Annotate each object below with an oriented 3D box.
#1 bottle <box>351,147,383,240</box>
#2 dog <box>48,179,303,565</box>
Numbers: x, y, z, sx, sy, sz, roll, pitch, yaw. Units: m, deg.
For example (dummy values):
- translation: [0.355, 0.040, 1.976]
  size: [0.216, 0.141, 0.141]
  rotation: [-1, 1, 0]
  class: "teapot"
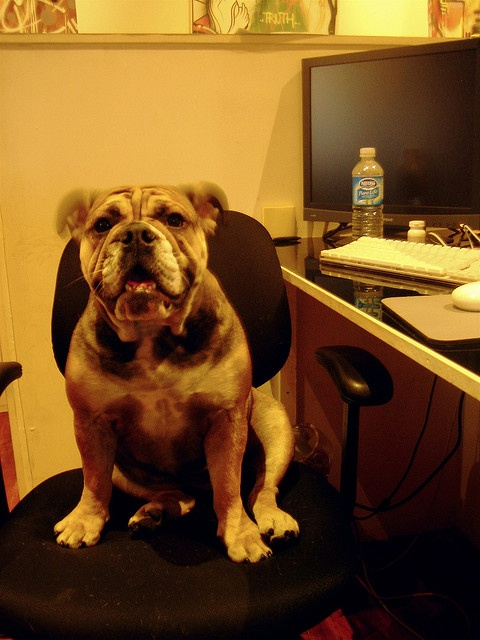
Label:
- translation: [0.301, -0.294, 1.219]
  size: [0.076, 0.208, 0.136]
  rotation: [3, 13, 14]
  class: "bottle"
- translation: [-0.112, 0.063, 0.889]
  size: [0.297, 0.587, 0.451]
  rotation: [-2, 8, 0]
  class: "dog"
